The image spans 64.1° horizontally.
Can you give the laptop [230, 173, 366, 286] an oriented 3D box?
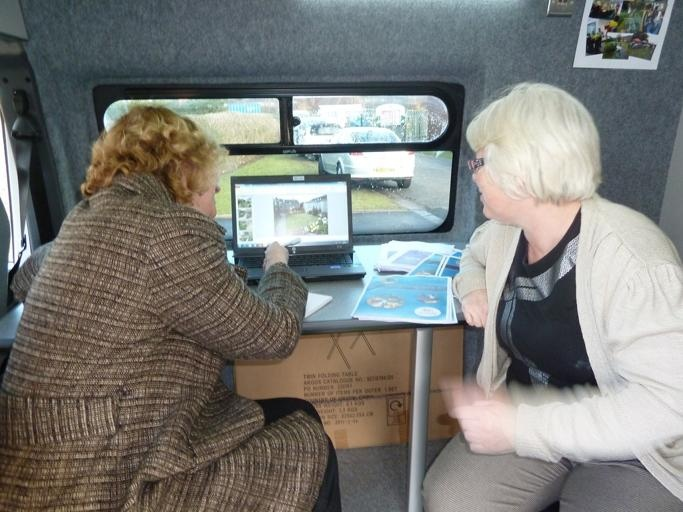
[{"bbox_3d":[-0.195,-0.155,2.207,0.569,0.415,0.391,-4,46,-4],"label":"laptop"}]
